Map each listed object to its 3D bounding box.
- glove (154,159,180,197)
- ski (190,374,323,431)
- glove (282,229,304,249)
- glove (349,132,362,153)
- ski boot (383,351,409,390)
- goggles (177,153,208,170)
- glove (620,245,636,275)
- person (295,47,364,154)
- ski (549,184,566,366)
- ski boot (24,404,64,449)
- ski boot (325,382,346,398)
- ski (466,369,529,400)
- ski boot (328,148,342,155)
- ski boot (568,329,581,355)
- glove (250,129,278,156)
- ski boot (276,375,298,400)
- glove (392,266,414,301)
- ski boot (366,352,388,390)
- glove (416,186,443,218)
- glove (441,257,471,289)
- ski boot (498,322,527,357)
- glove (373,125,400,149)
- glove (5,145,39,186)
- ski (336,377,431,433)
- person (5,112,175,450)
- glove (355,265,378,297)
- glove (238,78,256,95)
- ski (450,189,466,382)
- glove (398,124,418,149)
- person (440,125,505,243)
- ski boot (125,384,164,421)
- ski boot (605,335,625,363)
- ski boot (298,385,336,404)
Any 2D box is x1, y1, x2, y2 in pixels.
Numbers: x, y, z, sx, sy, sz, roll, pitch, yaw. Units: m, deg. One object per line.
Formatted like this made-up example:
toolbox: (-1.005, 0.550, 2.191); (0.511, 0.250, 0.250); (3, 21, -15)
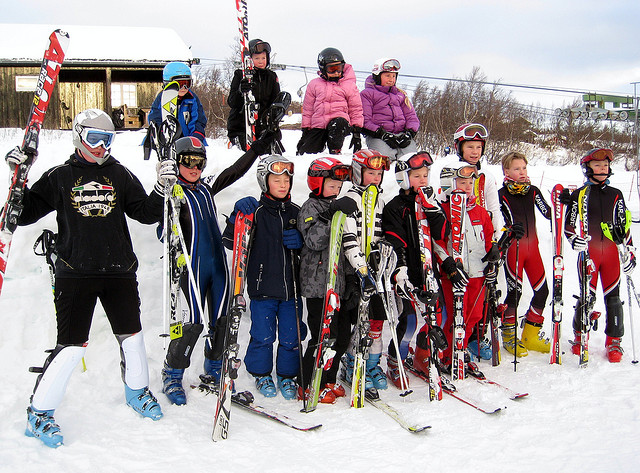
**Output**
glove: (-1.603, -0.603, 5.939); (0.261, 0.369, 0.131); (6, 11, -15)
ski: (-0.685, 1.777, 6.081); (1.475, 0.174, 0.251); (17, 9, 43)
glove: (-0.311, 0.020, 6.424); (0.214, 0.217, 0.066); (0, -2, -9)
glove: (0.550, -1.468, 8.902); (0.149, 0.302, 0.417); (1, 6, -2)
ski boot: (0.921, 1.583, 6.862); (0.164, 0.350, 0.498); (-6, 15, -14)
goggles: (-1.414, -0.833, 6.310); (0.185, 0.111, 0.215); (8, 0, -39)
glove: (4.020, 0.286, 7.368); (0.203, 0.328, 0.127); (-9, -2, -7)
person: (0.182, -2.069, 8.846); (0.998, 1.552, 0.823); (1, 6, -4)
ski: (3.076, 0.507, 7.389); (0.268, 2.439, 0.270); (1, -5, 6)
ski boot: (-2.681, 1.790, 5.523); (0.485, 0.340, 0.172); (14, 9, 28)
ski boot: (0.177, 1.720, 6.502); (0.220, 0.097, 0.122); (32, 14, 31)
ski: (2.058, 1.727, 6.667); (0.079, 0.046, 0.529); (-3, 16, -25)
ski boot: (0.223, -1.345, 9.043); (0.187, 0.093, 0.330); (1, 6, -1)
ski boot: (3.285, 1.351, 7.356); (0.099, 0.339, 0.399); (3, 6, 14)
glove: (-0.753, -1.253, 7.650); (0.226, 0.372, 0.144); (36, -4, 8)
ski boot: (-0.370, 1.683, 6.487); (0.117, 0.155, 0.327); (4, 3, -29)
glove: (0.969, 0.542, 6.665); (0.149, 0.385, 0.238); (-4, -3, 25)
ski boot: (0.650, 1.549, 6.761); (0.157, 0.457, 0.462); (-7, 15, -18)
glove: (1.298, -0.394, 6.740); (0.270, 0.360, 0.136); (-12, -3, -9)
glove: (1.603, 0.429, 6.723); (0.275, 0.349, 0.100); (-42, -8, 24)
ski boot: (2.602, 1.362, 7.678); (0.191, 0.503, 0.501); (-12, 16, -15)
glove: (1.003, -1.530, 8.753); (0.249, 0.332, 0.461); (-3, 8, -38)
glove: (-3.060, -0.723, 5.765); (0.284, 0.399, 0.141); (12, 1, -22)
ski: (0.765, 1.784, 6.123); (0.184, 0.102, 1.278); (1, 9, -25)
person: (-2.281, 0.343, 5.713); (1.288, 3.146, 0.769); (-1, 6, -20)
glove: (0.509, 0.445, 6.309); (0.137, 0.168, 0.395); (-10, 44, -6)
glove: (-1.095, -2.228, 8.485); (0.263, 0.223, 0.338); (0, 6, -8)
ski: (1.637, 0.536, 6.774); (0.215, 2.085, 0.246); (3, -10, -5)
glove: (1.347, -1.503, 8.777); (0.244, 0.322, 0.147); (50, -2, 26)
person: (1.961, -0.563, 7.416); (0.722, 1.834, 0.568); (0, -15, 7)
ski boot: (-1.836, 1.633, 5.915); (0.483, 0.354, 0.174); (17, 12, 33)
ski boot: (3.782, 1.424, 7.335); (0.203, 0.299, 0.305); (5, 7, 29)
ski boot: (-0.075, 1.760, 6.328); (0.514, 0.267, 0.180); (0, 4, 4)
